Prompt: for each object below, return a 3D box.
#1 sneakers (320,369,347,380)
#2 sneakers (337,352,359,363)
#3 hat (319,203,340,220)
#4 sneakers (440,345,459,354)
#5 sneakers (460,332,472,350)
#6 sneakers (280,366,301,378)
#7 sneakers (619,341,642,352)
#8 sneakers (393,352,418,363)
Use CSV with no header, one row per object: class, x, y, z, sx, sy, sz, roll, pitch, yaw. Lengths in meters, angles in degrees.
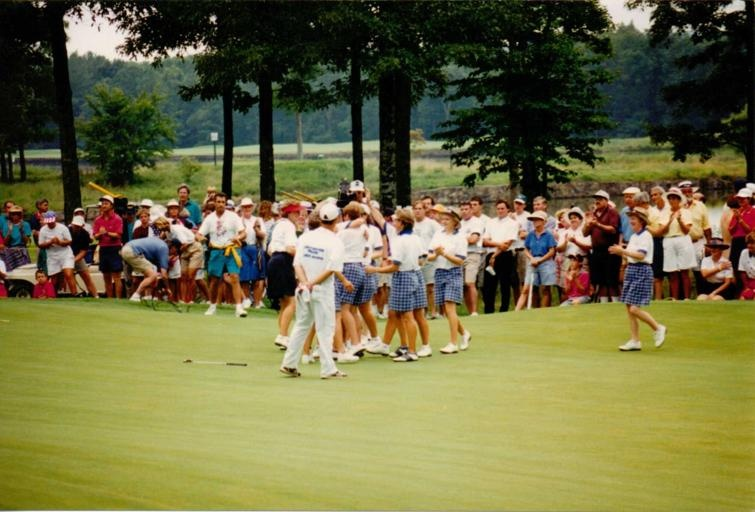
sneakers,-0.895,2.465,23.761,0.526,0.194,0.205,-1,1,-8
sneakers,-0.654,2.205,24.828,0.534,0.259,0.191,-1,4,5
hat,-0.983,-0.920,23.613,0.291,0.391,0.221,1,-18,8
sneakers,1.597,2.051,25.192,0.392,0.147,0.168,2,-6,-24
sneakers,1.963,1.905,25.580,0.220,0.460,0.168,8,-3,-23
sneakers,-1.832,2.393,23.820,0.474,0.206,0.166,15,27,-29
sneakers,5.599,1.995,25.246,0.510,0.205,0.200,1,2,3
sneakers,0.606,2.195,24.807,0.404,0.147,0.230,1,-1,-7
